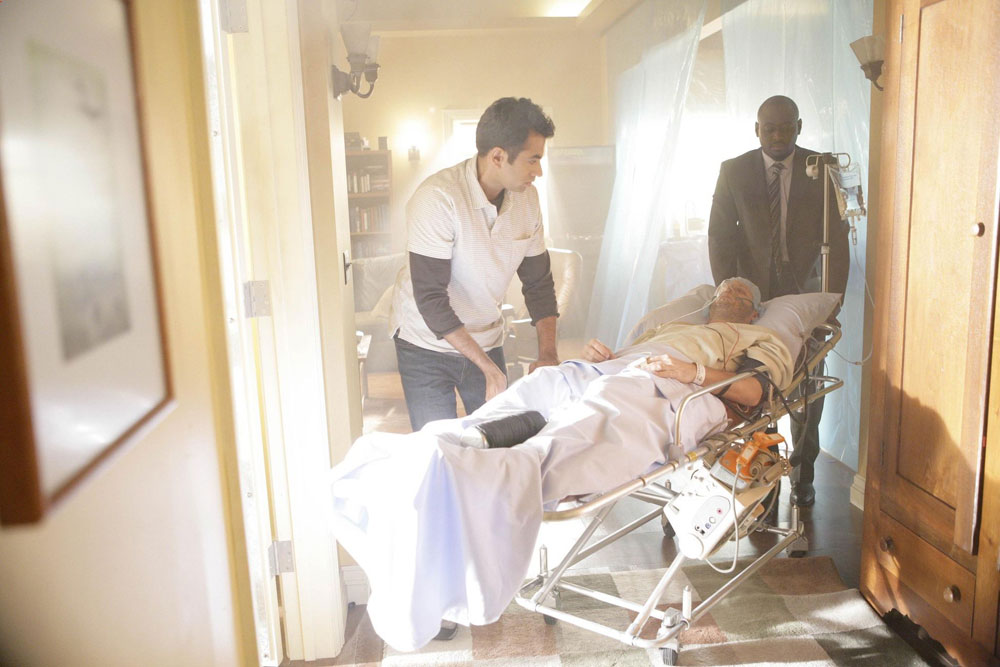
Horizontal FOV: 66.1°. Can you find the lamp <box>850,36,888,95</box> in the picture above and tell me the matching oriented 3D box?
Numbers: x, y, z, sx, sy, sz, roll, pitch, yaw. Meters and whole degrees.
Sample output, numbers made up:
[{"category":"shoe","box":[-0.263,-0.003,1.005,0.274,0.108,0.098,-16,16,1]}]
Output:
[{"category":"lamp","box":[1.486,-1.099,3.097,0.108,0.151,0.107,12,58,29]}]

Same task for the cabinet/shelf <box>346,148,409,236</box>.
[{"category":"cabinet/shelf","box":[-0.540,-0.570,3.162,0.199,0.348,0.110,-2,4,-17]}]

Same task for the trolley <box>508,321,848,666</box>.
[{"category":"trolley","box":[0.649,0.516,2.926,1.688,0.996,0.686,-23,27,-38]}]

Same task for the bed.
[{"category":"bed","box":[0.450,0.214,2.613,2.086,0.547,0.733,-24,37,-35]}]

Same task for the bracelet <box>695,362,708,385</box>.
[{"category":"bracelet","box":[0.682,0.134,2.582,0.053,0.044,0.063,1,18,13]}]

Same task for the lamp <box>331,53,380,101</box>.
[{"category":"lamp","box":[-0.537,-0.982,2.954,0.166,0.137,0.176,-4,4,36]}]

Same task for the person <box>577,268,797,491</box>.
[{"category":"person","box":[0.805,0.081,2.886,0.592,0.264,0.702,23,57,17]}]
